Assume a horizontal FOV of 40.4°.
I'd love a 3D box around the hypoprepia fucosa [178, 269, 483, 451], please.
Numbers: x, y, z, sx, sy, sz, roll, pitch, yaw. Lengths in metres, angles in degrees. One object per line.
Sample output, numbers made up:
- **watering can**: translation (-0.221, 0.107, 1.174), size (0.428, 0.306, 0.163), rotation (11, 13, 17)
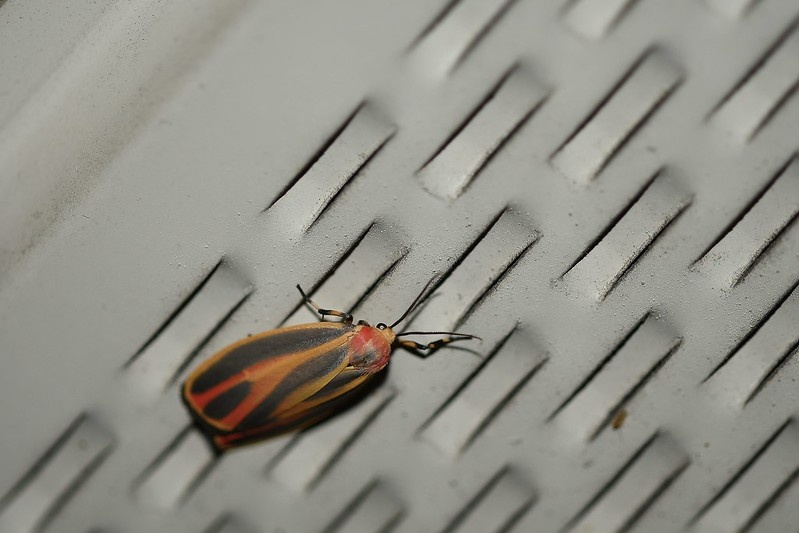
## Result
- **hypoprepia fucosa**: translation (-0.363, 0.520, 5.874), size (1.545, 0.356, 0.875), rotation (-21, 69, -16)
